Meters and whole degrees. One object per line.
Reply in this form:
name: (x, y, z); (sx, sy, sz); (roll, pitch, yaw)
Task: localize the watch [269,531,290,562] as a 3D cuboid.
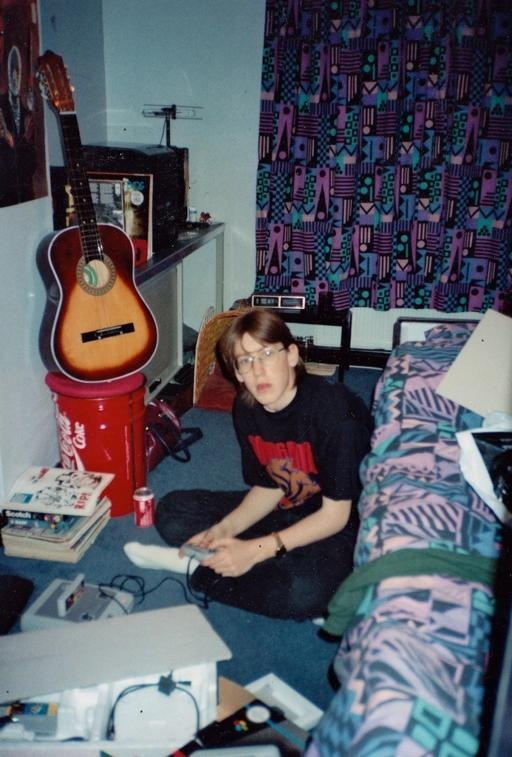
watch: (0.057, 0.429, 1.513); (0.040, 0.061, 0.065); (-23, 67, -18)

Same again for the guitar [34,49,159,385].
guitar: (-0.513, -0.500, 1.902); (0.324, 1.020, 0.312); (-4, 19, -9)

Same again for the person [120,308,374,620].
person: (0.023, 0.215, 1.651); (0.671, 0.755, 0.609); (4, 12, 42)

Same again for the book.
book: (-0.653, 0.436, 1.919); (0.332, 0.215, 0.289); (1, 19, 5)
